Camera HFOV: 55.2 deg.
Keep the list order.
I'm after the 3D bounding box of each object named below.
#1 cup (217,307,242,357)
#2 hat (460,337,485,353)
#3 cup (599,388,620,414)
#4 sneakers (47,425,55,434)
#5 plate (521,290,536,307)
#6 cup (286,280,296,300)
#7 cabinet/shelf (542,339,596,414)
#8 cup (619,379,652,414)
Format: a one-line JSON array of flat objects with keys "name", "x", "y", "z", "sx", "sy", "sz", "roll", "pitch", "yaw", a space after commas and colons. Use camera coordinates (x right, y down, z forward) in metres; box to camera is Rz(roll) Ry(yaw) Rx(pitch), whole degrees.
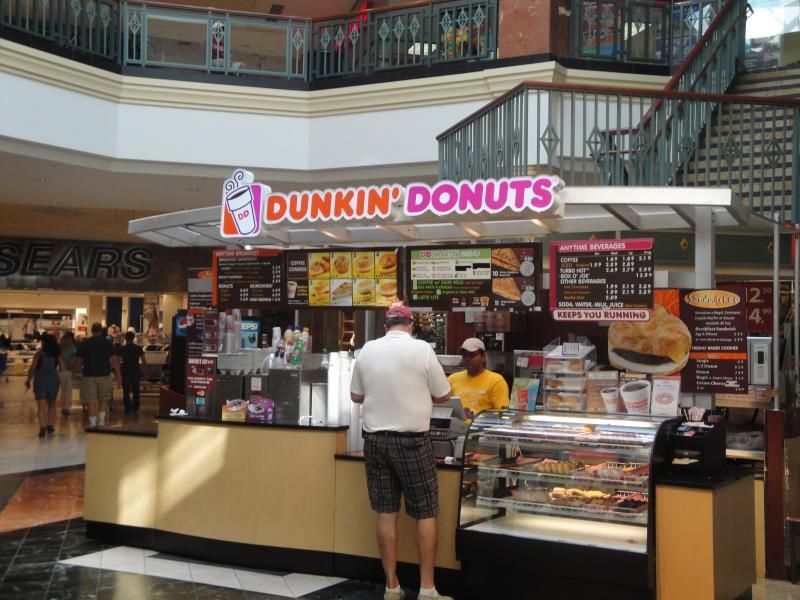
[{"name": "cup", "x": -1.518, "y": 0.276, "z": 6.818, "sx": 0.182, "sy": 0.353, "sz": 0.430, "roll": -2, "pitch": -1, "yaw": -11}, {"name": "hat", "x": 0.633, "y": 0.394, "z": 6.700, "sx": 0.170, "sy": 0.091, "sz": 0.225, "roll": -2, "pitch": 0, "yaw": -5}, {"name": "cup", "x": 1.597, "y": 0.762, "z": 5.799, "sx": 0.151, "sy": 0.188, "sz": 0.156, "roll": 1, "pitch": 5, "yaw": 0}, {"name": "sneakers", "x": -5.330, "y": 1.977, "z": 11.657, "sx": 0.093, "sy": 0.099, "sz": 0.160, "roll": 6, "pitch": -8, "yaw": -23}, {"name": "plate", "x": 1.091, "y": -0.015, "z": 6.501, "sx": 0.133, "sy": 0.115, "sz": 0.014, "roll": -2, "pitch": -1, "yaw": 31}, {"name": "cup", "x": -1.039, "y": -0.092, "z": 7.325, "sx": 0.138, "sy": 0.151, "sz": 0.139, "roll": 1, "pitch": -2, "yaw": 0}, {"name": "cabinet/shelf", "x": 1.319, "y": 0.550, "z": 6.127, "sx": 0.404, "sy": 0.820, "sz": 0.588, "roll": -1, "pitch": -3, "yaw": 21}, {"name": "cup", "x": 1.762, "y": 0.711, "z": 5.707, "sx": 0.214, "sy": 0.255, "sz": 0.223, "roll": -2, "pitch": -2, "yaw": 0}]
